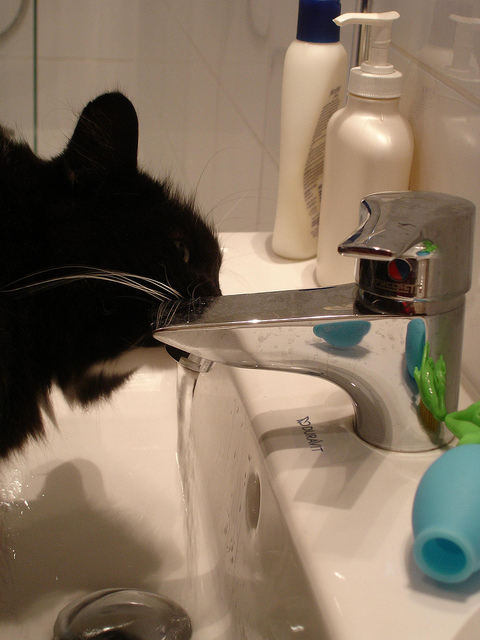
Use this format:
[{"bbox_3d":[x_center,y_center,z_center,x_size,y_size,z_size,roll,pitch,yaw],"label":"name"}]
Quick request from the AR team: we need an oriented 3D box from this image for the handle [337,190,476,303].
[{"bbox_3d":[0.082,-0.043,0.295,0.066,0.040,0.050,-16,23,-41],"label":"handle"}]

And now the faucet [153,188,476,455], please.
[{"bbox_3d":[0.062,-0.011,0.365,0.215,0.163,0.107,-2,21,-3],"label":"faucet"}]

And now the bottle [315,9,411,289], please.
[{"bbox_3d":[0.097,-0.119,0.448,0.067,0.213,0.063,3,21,-1],"label":"bottle"}]
